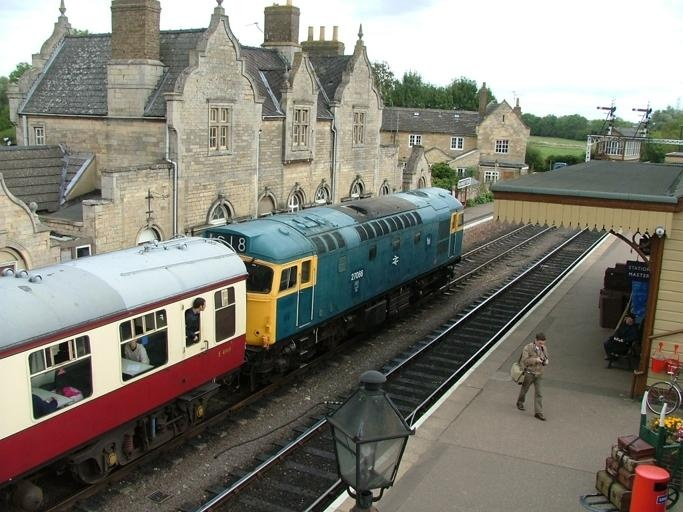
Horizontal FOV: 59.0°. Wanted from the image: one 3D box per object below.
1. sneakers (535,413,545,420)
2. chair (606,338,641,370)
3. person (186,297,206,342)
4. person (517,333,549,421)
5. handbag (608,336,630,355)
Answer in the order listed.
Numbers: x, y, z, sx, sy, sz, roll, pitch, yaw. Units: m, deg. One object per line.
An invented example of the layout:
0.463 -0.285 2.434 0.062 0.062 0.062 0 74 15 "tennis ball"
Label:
4.526 3.652 13.697 0.097 0.111 0.269 -8 10 -33 "sneakers"
7.941 2.685 17.061 0.888 1.282 0.890 -2 10 21 "chair"
-3.218 1.379 13.307 0.268 1.010 0.358 13 40 -18 "person"
4.425 2.649 13.963 0.658 1.972 1.009 3 13 17 "person"
7.596 2.468 16.598 0.469 0.467 0.482 9 14 42 "handbag"
